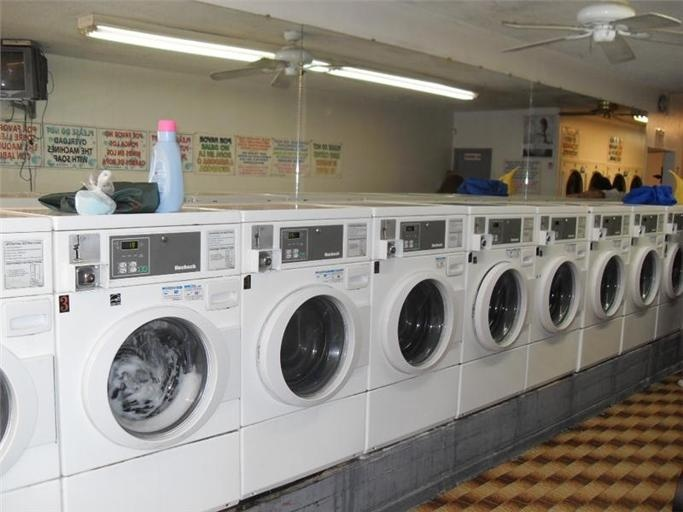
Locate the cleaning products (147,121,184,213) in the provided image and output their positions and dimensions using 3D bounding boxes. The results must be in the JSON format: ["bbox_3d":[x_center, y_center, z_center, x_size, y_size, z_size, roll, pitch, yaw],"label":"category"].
[{"bbox_3d":[-0.700,-0.367,2.048,0.122,0.371,0.260,-2,10,-21],"label":"cleaning products"}]

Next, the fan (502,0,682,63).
[{"bbox_3d":[2.291,-2.103,4.758,1.086,0.289,1.059,-6,6,-43],"label":"fan"}]

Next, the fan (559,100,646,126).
[{"bbox_3d":[3.514,-1.890,6.748,2.475,0.327,0.084,-6,12,-40],"label":"fan"}]

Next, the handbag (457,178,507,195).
[{"bbox_3d":[1.484,-0.720,5.287,0.135,0.175,0.860,11,12,41],"label":"handbag"}]

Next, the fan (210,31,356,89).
[{"bbox_3d":[-0.491,-1.417,3.860,0.564,0.210,0.502,-9,9,-37],"label":"fan"}]

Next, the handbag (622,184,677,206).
[{"bbox_3d":[2.984,-0.582,4.964,0.335,0.123,0.340,0,2,27],"label":"handbag"}]

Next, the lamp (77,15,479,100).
[{"bbox_3d":[-0.515,-1.203,2.730,2.315,0.080,0.253,12,0,13],"label":"lamp"}]
